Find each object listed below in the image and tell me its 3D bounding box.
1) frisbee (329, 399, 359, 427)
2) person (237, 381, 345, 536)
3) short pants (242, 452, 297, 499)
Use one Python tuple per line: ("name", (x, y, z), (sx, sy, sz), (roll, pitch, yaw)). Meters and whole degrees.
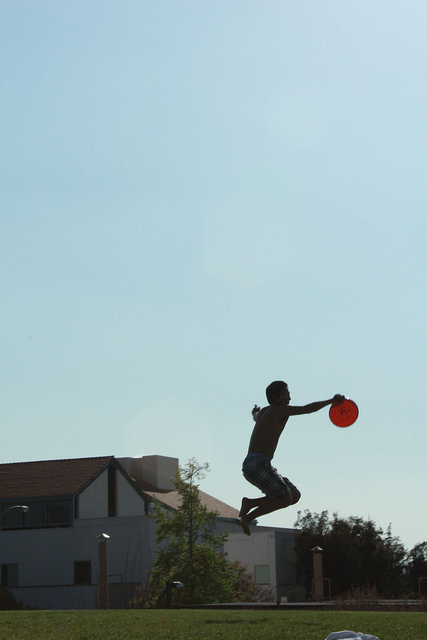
("frisbee", (1.836, 1.295, 18.525), (0.378, 0.378, 0.260), (11, -1, 7))
("person", (0.900, 1.847, 18.399), (0.900, 2.052, 0.596), (10, -1, 4))
("short pants", (0.765, 2.275, 18.493), (0.713, 0.811, 0.692), (3, -27, -22))
